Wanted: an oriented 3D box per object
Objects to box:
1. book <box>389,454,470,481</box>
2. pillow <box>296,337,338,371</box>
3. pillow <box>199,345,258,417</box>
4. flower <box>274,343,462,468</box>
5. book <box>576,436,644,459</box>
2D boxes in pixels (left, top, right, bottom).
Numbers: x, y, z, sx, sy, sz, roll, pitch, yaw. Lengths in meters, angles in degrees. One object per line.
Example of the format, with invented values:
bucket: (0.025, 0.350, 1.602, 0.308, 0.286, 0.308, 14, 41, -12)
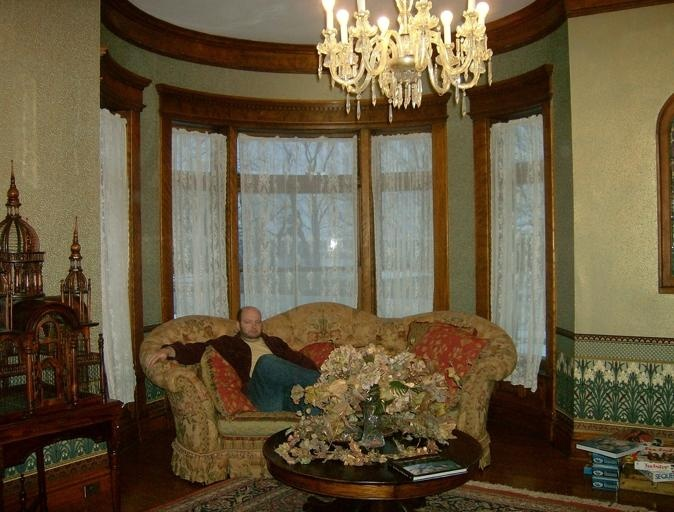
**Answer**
book: (0.532, 1.226, 3.536, 0.410, 0.076, 0.247, -2, -3, -22)
pillow: (-0.162, 0.865, 5.514, 0.323, 0.089, 0.361, 12, 32, 10)
pillow: (-0.898, 1.030, 4.922, 0.128, 0.447, 0.413, -33, -18, 18)
flower: (0.255, 0.925, 3.841, 0.777, 0.579, 0.798, 1, 2, 30)
book: (2.111, 1.484, 4.680, 0.454, 0.097, 0.293, -1, -3, -30)
